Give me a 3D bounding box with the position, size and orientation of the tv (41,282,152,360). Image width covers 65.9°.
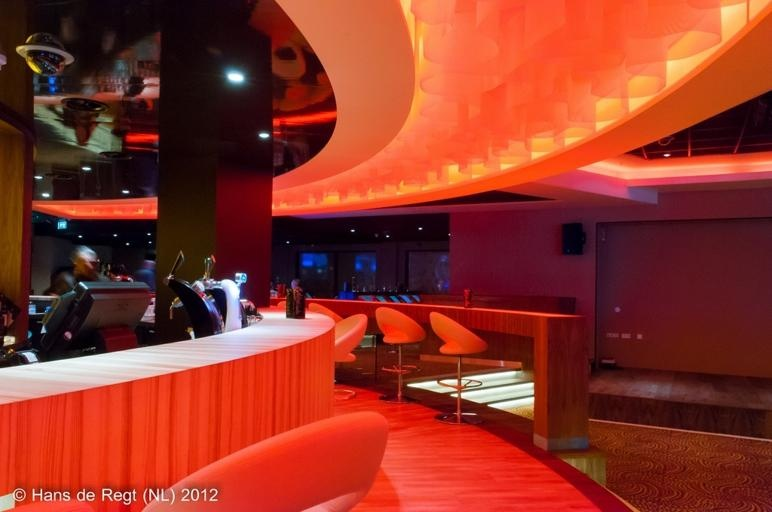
[{"bbox_3d":[-2.269,0.541,4.762,0.440,0.774,0.797,6,6,19],"label":"tv"}]

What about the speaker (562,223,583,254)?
[{"bbox_3d":[3.441,-0.350,10.993,0.491,0.585,0.492,-2,8,2],"label":"speaker"}]
